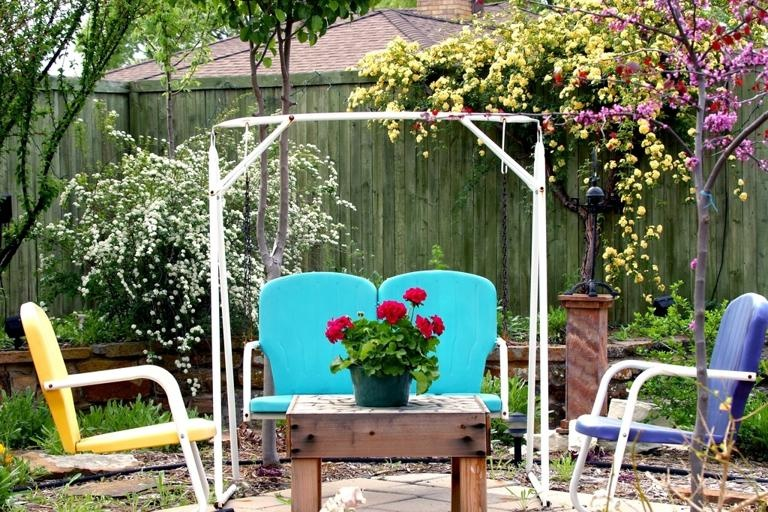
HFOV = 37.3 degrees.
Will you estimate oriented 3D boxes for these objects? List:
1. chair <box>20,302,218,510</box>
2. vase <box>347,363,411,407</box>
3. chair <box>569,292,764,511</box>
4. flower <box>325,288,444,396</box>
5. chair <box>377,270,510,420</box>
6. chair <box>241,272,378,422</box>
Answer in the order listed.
[{"bbox_3d":[-1.826,1.021,8.289,1.244,1.800,1.231,-5,-6,-6],"label":"chair"},{"bbox_3d":[-0.035,0.854,7.578,0.280,0.176,0.288,-5,-8,42],"label":"vase"},{"bbox_3d":[1.845,0.965,8.159,1.366,2.127,1.086,4,-5,-6],"label":"chair"},{"bbox_3d":[0.021,0.519,7.628,0.628,0.602,0.694,1,1,25],"label":"flower"},{"bbox_3d":[0.441,0.691,8.872,0.803,1.315,1.016,0,-8,3],"label":"chair"},{"bbox_3d":[-0.572,0.641,8.607,0.794,1.374,1.044,0,-4,-2],"label":"chair"}]
